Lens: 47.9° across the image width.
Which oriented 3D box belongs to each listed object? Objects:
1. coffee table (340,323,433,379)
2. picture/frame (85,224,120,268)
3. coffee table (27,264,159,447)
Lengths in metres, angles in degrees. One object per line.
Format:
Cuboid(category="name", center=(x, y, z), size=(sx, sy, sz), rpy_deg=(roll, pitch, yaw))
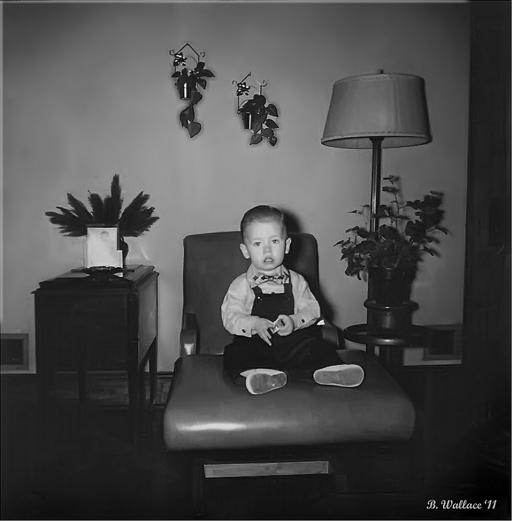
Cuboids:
Cuboid(category="coffee table", center=(0.540, 0.330, 2.400), size=(0.269, 0.311, 0.269), rpy_deg=(-1, -2, -7))
Cuboid(category="picture/frame", center=(-0.665, -0.061, 2.526), size=(0.161, 0.249, 0.163), rpy_deg=(1, -2, -7))
Cuboid(category="coffee table", center=(-0.669, 0.364, 2.456), size=(0.478, 0.865, 0.691), rpy_deg=(0, 15, -2))
